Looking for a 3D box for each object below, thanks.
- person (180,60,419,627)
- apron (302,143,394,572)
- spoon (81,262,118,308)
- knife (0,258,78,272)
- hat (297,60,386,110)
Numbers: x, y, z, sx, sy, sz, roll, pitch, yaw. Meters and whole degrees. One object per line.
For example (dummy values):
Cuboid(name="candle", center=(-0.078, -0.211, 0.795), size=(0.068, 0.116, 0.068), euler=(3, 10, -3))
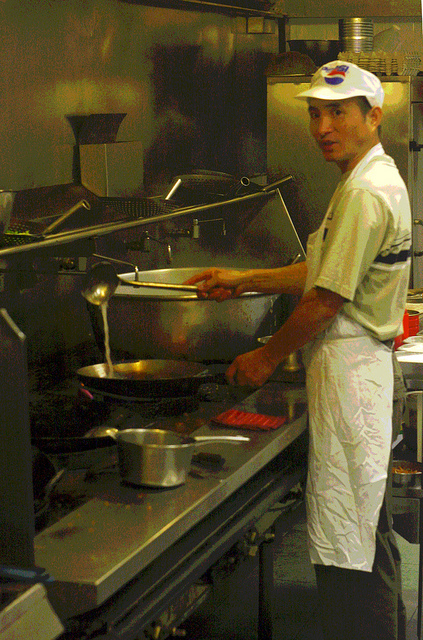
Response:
Cuboid(name="person", center=(0.249, 0.107, 1.374), size=(0.262, 1.194, 0.377), euler=(10, 14, 37))
Cuboid(name="apron", center=(0.266, 0.237, 1.380), size=(0.186, 0.529, 0.139), euler=(5, 12, 17))
Cuboid(name="spoon", center=(-0.259, -0.076, 1.595), size=(0.073, 0.100, 0.081), euler=(2, 10, 1))
Cuboid(name="knife", center=(-0.331, -0.103, 1.333), size=(0.024, 0.022, 0.237), euler=(-4, 0, 20))
Cuboid(name="hat", center=(0.246, -0.452, 1.301), size=(0.139, 0.061, 0.194), euler=(20, 24, 31))
